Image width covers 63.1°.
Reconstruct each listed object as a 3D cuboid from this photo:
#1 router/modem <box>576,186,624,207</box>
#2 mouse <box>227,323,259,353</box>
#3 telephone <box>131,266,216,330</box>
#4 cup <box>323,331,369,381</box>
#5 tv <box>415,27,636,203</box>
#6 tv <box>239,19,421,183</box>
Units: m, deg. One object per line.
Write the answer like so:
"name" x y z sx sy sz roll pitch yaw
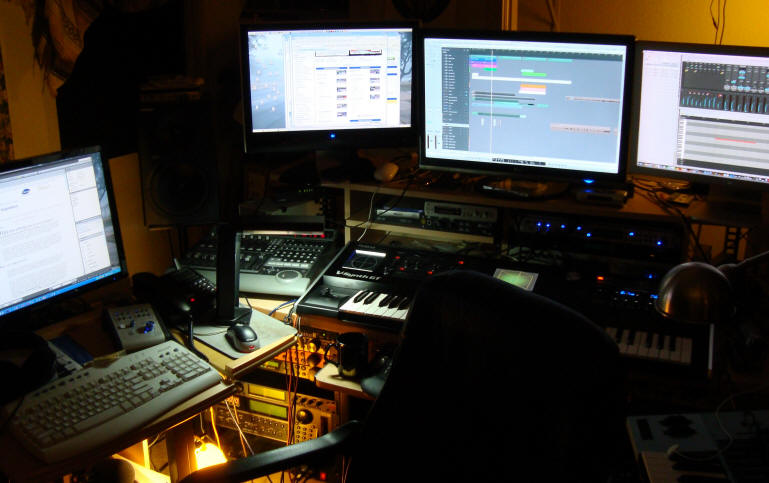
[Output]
"router/modem" 0.920 -0.201 2.654 0.136 0.034 0.102 14 32 25
"mouse" -0.557 0.368 2.473 0.080 0.049 0.142 -18 40 -31
"telephone" -0.886 0.211 2.644 0.308 0.113 0.222 39 48 19
"cup" -0.186 0.440 2.468 0.192 0.166 0.120 9 17 27
"tv" 0.609 -0.549 2.674 0.820 0.536 0.062 6 19 14
"tv" -0.244 -0.692 2.806 0.765 0.560 0.138 -2 23 -10
